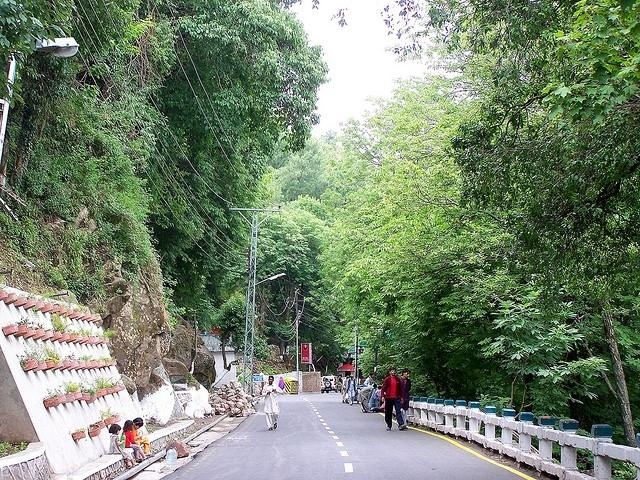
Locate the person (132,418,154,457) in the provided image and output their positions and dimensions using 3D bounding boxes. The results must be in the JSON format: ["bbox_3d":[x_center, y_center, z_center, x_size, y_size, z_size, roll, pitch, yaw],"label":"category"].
[{"bbox_3d":[-4.239,4.582,12.682,0.404,0.889,0.311,-6,-5,-14],"label":"person"}]

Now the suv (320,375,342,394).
[{"bbox_3d":[1.385,20.268,75.799,2.266,2.440,4.257,-1,-5,5],"label":"suv"}]
